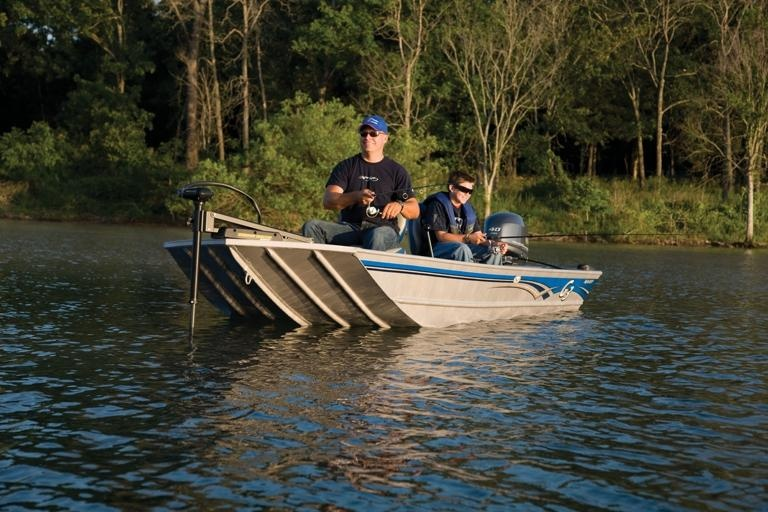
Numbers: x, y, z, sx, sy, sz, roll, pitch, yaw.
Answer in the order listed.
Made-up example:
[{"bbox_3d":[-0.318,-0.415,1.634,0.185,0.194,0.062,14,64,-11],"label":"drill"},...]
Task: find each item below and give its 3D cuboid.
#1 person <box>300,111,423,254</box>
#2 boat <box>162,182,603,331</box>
[{"bbox_3d":[-0.427,-1.072,16.912,1.545,2.560,1.153,0,1,-42],"label":"person"},{"bbox_3d":[-0.038,-0.046,17.832,8.410,1.908,2.873,11,-8,-38],"label":"boat"}]
